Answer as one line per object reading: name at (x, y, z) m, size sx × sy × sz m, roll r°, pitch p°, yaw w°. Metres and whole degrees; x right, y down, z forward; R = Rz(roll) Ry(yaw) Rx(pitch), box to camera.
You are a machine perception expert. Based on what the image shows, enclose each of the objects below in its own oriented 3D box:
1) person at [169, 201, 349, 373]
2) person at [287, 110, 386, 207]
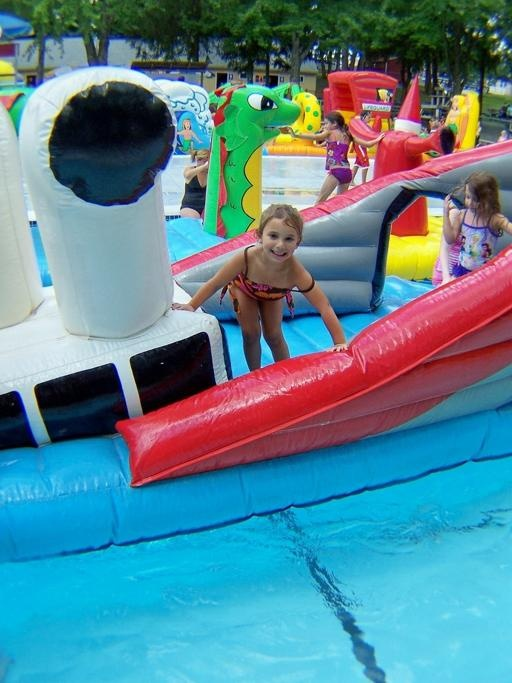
person at (0.064, -0.219, 2.527) m, size 0.668 × 0.821 × 0.512 m, roll 2°, pitch 22°, yaw 8°
person at (1.007, -2.392, 7.189) m, size 0.765 × 1.076 × 1.725 m, roll 1°, pitch 21°, yaw 4°
